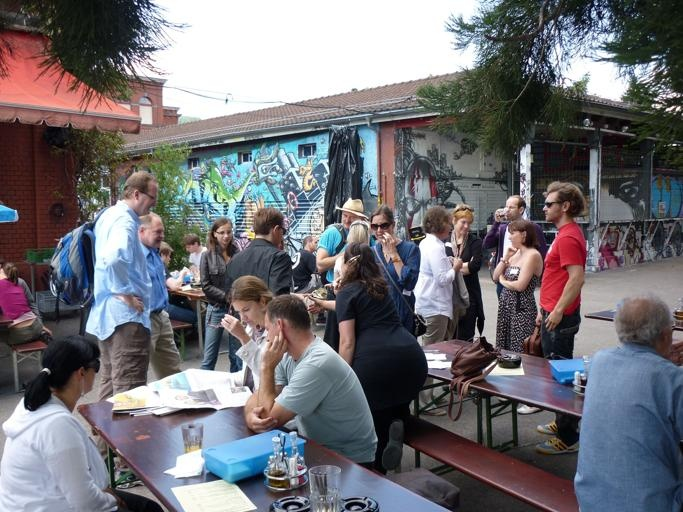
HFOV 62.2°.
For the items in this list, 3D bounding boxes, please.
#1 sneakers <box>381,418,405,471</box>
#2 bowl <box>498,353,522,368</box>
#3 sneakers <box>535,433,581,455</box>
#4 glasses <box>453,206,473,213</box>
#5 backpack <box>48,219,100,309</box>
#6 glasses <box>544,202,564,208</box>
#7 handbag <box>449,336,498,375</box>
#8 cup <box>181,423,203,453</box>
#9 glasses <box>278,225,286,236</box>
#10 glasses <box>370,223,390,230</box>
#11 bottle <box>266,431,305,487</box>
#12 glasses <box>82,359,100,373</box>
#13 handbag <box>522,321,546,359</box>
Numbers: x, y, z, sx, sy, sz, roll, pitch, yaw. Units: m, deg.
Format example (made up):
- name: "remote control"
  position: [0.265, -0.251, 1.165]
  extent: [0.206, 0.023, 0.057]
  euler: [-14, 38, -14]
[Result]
- name: "sneakers"
  position: [0.362, 1.285, 3.915]
  extent: [0.145, 0.381, 0.151]
  euler: [4, -17, 13]
- name: "bowl"
  position: [1.480, 0.890, 4.948]
  extent: [0.190, 0.090, 0.283]
  euler: [3, 9, 21]
- name: "sneakers"
  position: [2.008, 1.758, 5.400]
  extent: [0.480, 0.228, 0.179]
  euler: [2, -1, 5]
- name: "glasses"
  position: [1.527, -0.588, 7.104]
  extent: [0.223, 0.100, 0.191]
  euler: [1, 9, 11]
- name: "backpack"
  position: [-2.539, 0.105, 5.343]
  extent: [0.508, 0.857, 0.376]
  euler: [-1, 9, -1]
- name: "glasses"
  position: [2.035, -0.499, 5.483]
  extent: [0.098, 0.058, 0.244]
  euler: [-1, 9, -6]
- name: "handbag"
  position: [1.107, 0.831, 4.687]
  extent: [0.369, 0.316, 0.232]
  euler: [-1, 9, -4]
- name: "cup"
  position: [-0.898, 1.091, 3.407]
  extent: [0.115, 0.204, 0.135]
  euler: [-3, 9, -15]
- name: "glasses"
  position: [-0.571, -0.257, 5.486]
  extent: [0.067, 0.074, 0.039]
  euler: [-3, -4, -7]
- name: "glasses"
  position: [0.389, -0.294, 5.605]
  extent: [0.179, 0.067, 0.088]
  euler: [1, 9, 10]
- name: "bottle"
  position: [-0.302, 1.111, 3.199]
  extent: [0.260, 0.258, 0.265]
  euler: [0, -4, -7]
- name: "glasses"
  position: [-1.495, 0.654, 3.393]
  extent: [0.066, 0.029, 0.066]
  euler: [4, 5, 25]
- name: "handbag"
  position: [1.975, 0.856, 5.815]
  extent: [0.189, 0.339, 0.200]
  euler: [4, 10, 28]
